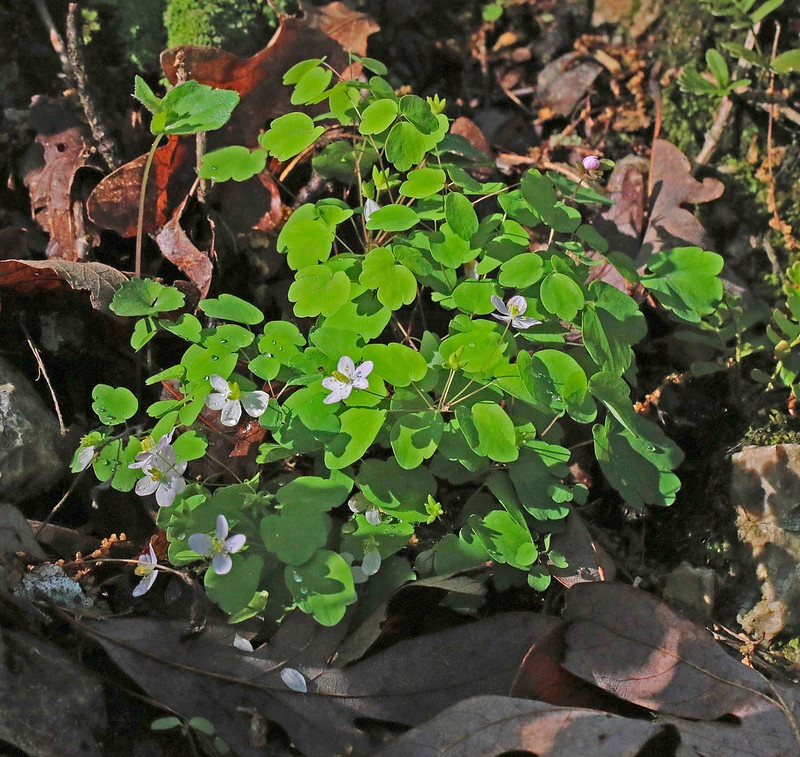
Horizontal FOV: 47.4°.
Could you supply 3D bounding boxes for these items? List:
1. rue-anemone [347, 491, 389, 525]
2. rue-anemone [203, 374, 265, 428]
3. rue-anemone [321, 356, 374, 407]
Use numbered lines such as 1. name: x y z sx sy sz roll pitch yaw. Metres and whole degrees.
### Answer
1. rue-anemone: -0.110 0.450 3.139 0.131 0.099 0.040 10 22 -1
2. rue-anemone: -0.561 0.072 3.128 0.207 0.157 0.138 -7 27 -37
3. rue-anemone: -0.170 0.013 3.026 0.190 0.149 0.085 -10 -7 15
